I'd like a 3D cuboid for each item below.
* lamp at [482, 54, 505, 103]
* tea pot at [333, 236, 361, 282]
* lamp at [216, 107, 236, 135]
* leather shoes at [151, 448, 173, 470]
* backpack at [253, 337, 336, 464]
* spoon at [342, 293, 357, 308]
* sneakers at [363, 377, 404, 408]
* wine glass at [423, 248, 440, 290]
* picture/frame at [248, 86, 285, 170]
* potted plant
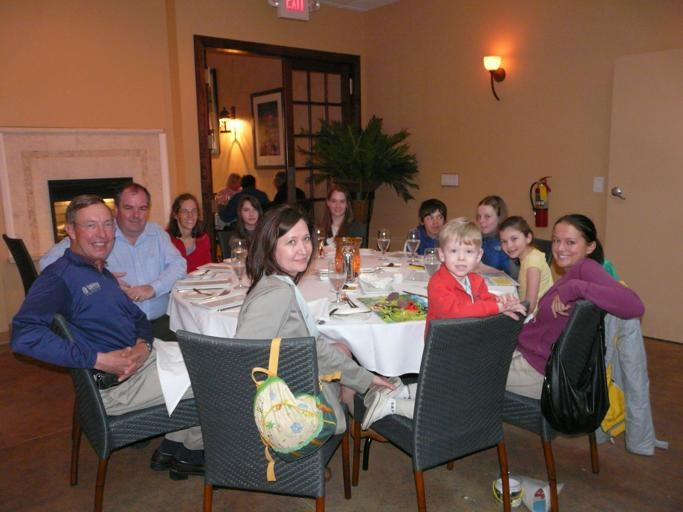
[{"bbox_3d":[1.566,-1.839,5.476,0.234,0.445,0.176,9,15,36],"label":"lamp"},{"bbox_3d":[0.034,0.032,3.315,0.197,0.271,0.189,6,-15,2],"label":"tea pot"},{"bbox_3d":[-1.877,-2.216,8.627,0.107,0.417,0.425,-11,16,-41],"label":"lamp"},{"bbox_3d":[-1.025,1.156,3.062,0.072,0.079,0.161,4,5,16],"label":"leather shoes"},{"bbox_3d":[-0.237,0.576,2.145,0.192,0.439,0.308,-15,15,11],"label":"backpack"},{"bbox_3d":[0.046,0.238,2.831,0.032,0.039,0.127,-3,14,-6],"label":"spoon"},{"bbox_3d":[0.200,0.636,2.543,0.182,0.065,0.099,-34,27,-26],"label":"sneakers"},{"bbox_3d":[0.481,0.063,3.026,0.139,0.255,0.140,-2,6,7],"label":"wine glass"},{"bbox_3d":[-1.091,-1.884,7.874,0.249,1.151,0.940,-6,14,-26],"label":"picture/frame"},{"bbox_3d":[0.201,-1.169,6.226,1.069,0.735,1.140,2,8,-11],"label":"potted plant"}]
